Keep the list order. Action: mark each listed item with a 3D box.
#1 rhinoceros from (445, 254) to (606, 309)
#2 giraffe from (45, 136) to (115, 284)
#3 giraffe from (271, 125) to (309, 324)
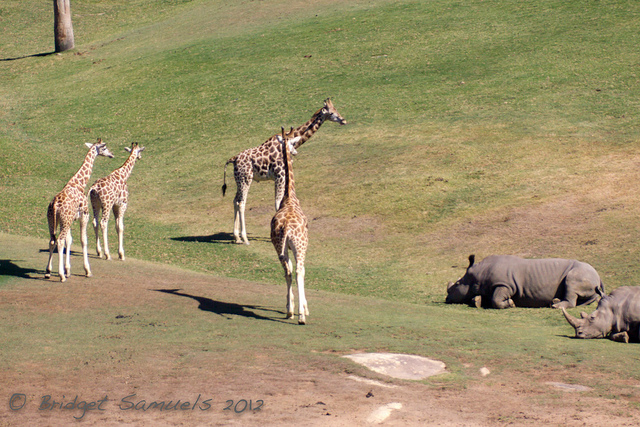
[{"bbox_3d":[8.329,2.822,59.624,6.521,1.987,2.259,1,1,8],"label":"rhinoceros"},{"bbox_3d":[-10.320,-0.021,59.089,2.464,5.754,3.837,6,-6,-33],"label":"giraffe"},{"bbox_3d":[-1.105,0.445,57.717,2.477,6.825,2.516,3,-3,-3],"label":"giraffe"}]
